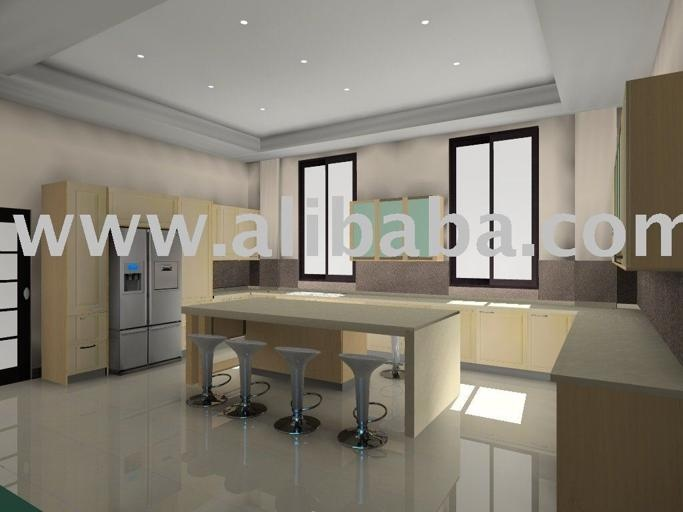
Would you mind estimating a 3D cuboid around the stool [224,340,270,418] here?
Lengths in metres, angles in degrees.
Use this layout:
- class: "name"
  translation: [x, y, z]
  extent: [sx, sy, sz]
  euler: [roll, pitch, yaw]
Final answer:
- class: "stool"
  translation: [-1.044, 1.311, 5.253]
  extent: [0.474, 0.756, 0.462]
  euler: [0, 1, -14]

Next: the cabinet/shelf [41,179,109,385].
- class: "cabinet/shelf"
  translation: [-3.526, 0.320, 6.319]
  extent: [0.891, 2.565, 0.647]
  euler: [-3, 7, -21]

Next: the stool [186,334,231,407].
- class: "stool"
  translation: [-1.545, 1.284, 5.550]
  extent: [0.446, 0.749, 0.464]
  euler: [0, 1, -8]

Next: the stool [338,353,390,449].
- class: "stool"
  translation: [0.176, 1.351, 4.749]
  extent: [0.482, 0.838, 0.585]
  euler: [-2, 8, -15]

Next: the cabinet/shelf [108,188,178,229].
- class: "cabinet/shelf"
  translation: [-2.840, -0.683, 6.962]
  extent: [0.176, 0.626, 1.106]
  euler: [4, 9, 29]

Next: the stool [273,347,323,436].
- class: "stool"
  translation: [-0.462, 1.321, 4.951]
  extent: [0.468, 0.841, 0.501]
  euler: [0, 7, -4]

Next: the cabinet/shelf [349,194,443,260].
- class: "cabinet/shelf"
  translation: [0.810, -0.429, 7.578]
  extent: [1.437, 0.968, 0.224]
  euler: [-1, -1, 31]

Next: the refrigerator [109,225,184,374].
- class: "refrigerator"
  translation: [-2.787, 0.587, 6.854]
  extent: [0.330, 1.958, 1.081]
  euler: [6, 9, 39]

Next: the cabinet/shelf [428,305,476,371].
- class: "cabinet/shelf"
  translation: [1.492, 1.031, 6.666]
  extent: [0.514, 1.125, 0.668]
  euler: [-1, -3, 31]
